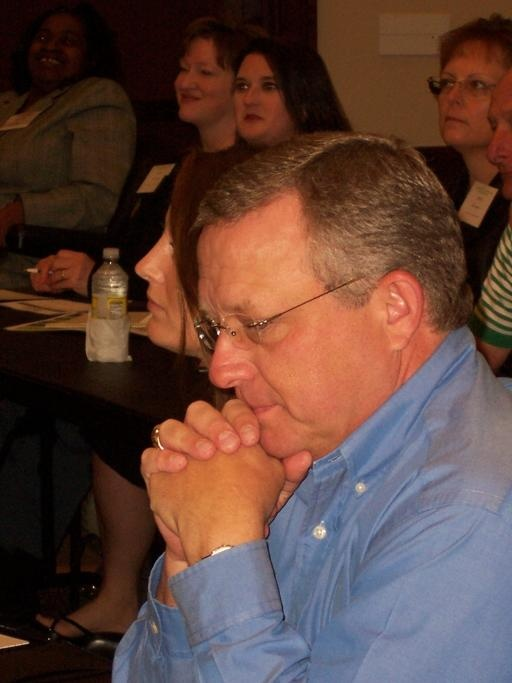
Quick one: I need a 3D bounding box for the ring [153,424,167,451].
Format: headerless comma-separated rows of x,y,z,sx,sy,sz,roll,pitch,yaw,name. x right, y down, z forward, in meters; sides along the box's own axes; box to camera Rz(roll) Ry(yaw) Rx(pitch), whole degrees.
-0.121,0.120,0.844,0.029,0.031,0.016,-2,-1,-2,ring

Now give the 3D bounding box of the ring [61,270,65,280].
-0.714,-0.248,2.478,0.009,0.009,0.032,-15,55,6,ring

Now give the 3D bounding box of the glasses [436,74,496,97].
0.868,-1.009,2.698,0.179,0.047,0.169,0,11,-36,glasses
